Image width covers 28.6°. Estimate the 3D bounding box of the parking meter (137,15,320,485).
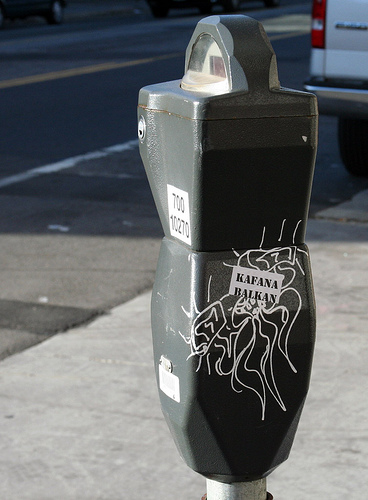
[{"bbox_3d":[0.107,0.023,1.600,0.366,0.998,0.459,-4,32,-1],"label":"parking meter"}]
